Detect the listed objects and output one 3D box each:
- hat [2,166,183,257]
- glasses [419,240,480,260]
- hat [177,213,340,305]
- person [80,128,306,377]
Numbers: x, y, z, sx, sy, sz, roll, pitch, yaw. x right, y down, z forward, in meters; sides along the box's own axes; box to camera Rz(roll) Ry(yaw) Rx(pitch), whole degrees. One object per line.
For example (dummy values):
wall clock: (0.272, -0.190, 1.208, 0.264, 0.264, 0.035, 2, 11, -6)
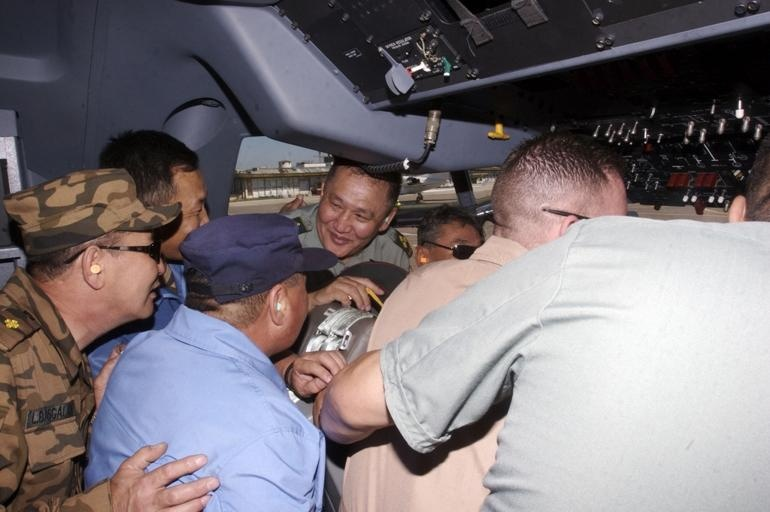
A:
hat: (-1.314, -0.199, 2.284, 0.595, 0.239, 0.393, -11, 15, -31)
glasses: (0.342, -0.013, 2.628, 0.193, 0.053, 0.184, 10, -2, 21)
hat: (-0.551, -0.041, 2.113, 0.494, 0.228, 0.322, -20, 21, -35)
person: (-1.301, 0.007, 3.202, 0.801, 1.415, 0.803, -19, 20, -31)
